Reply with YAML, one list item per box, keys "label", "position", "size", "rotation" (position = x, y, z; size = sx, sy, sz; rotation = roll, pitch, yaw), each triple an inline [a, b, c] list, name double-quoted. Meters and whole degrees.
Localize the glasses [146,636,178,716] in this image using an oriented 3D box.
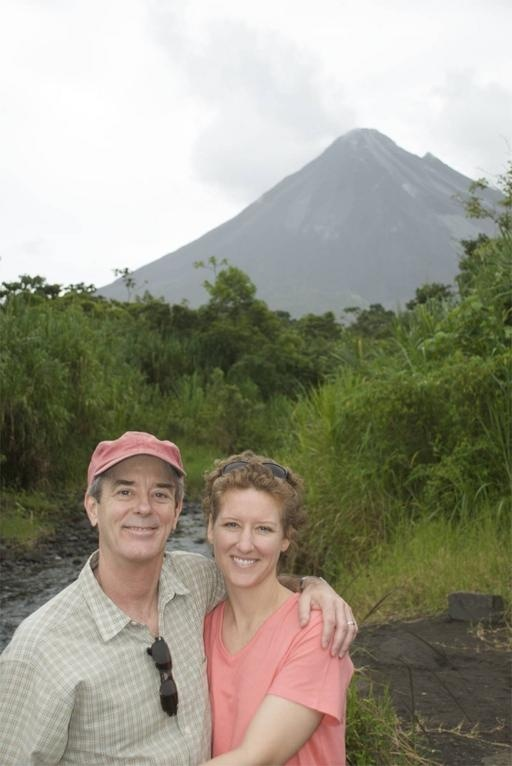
- label: "glasses"
  position: [-0.293, 0.966, 2.349]
  size: [0.092, 0.255, 0.127]
  rotation: [-1, 4, -27]
